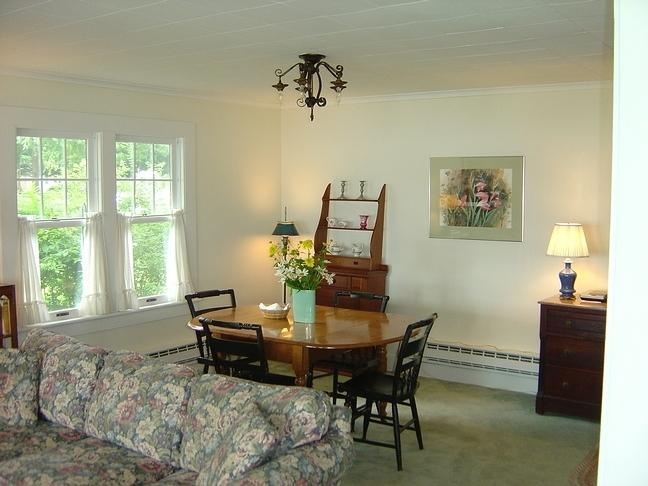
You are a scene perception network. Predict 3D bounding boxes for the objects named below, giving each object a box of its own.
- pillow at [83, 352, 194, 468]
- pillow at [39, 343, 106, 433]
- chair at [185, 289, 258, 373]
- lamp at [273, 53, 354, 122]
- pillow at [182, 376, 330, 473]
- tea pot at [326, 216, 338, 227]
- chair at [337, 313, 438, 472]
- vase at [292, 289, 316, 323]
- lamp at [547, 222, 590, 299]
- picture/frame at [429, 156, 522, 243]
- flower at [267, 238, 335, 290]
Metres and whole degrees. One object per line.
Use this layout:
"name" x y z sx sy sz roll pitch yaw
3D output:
"pillow" -1.064 0.952 2.918 0.696 0.504 0.189 7 -10 32
"pillow" -1.644 0.903 3.213 0.482 0.485 0.207 9 -2 41
"chair" -0.954 0.829 4.379 0.550 0.693 0.538 21 12 20
"lamp" -0.088 -1.249 4.033 0.642 0.510 0.564 10 23 26
"pillow" -0.376 0.865 2.570 0.581 0.561 0.180 -8 -20 39
"tea pot" 0.101 -0.279 6.360 0.116 0.079 0.114 0 1 0
"chair" 0.493 1.156 4.030 0.683 1.122 0.643 2 1 21
"vase" -0.175 0.529 4.245 0.249 0.277 0.261 0 0 -20
"lamp" 2.375 0.182 4.871 0.407 0.719 0.376 -1 2 -16
"picture/frame" 1.708 -0.488 5.485 0.990 0.833 0.039 2 6 34
"flower" -0.164 0.206 4.275 0.441 0.443 0.429 -6 2 28
